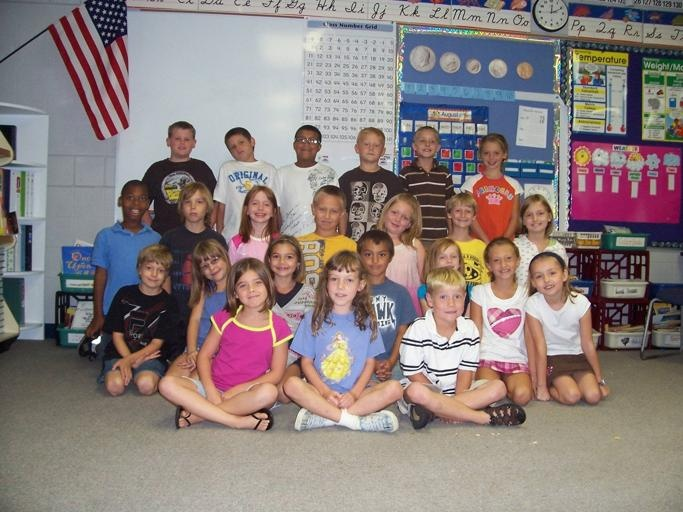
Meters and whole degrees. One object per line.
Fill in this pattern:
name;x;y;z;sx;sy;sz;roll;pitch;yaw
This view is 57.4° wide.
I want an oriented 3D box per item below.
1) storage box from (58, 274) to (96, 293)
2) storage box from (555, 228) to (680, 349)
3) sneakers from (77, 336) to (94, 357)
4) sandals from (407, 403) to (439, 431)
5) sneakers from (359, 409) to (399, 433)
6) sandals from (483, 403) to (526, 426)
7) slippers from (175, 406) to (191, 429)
storage box;-2.143;0.217;5.061;0.239;0.097;0.157;0;0;-19
storage box;2.234;0.278;5.114;1.025;0.878;0.342;1;-4;-19
sneakers;-1.872;0.665;4.579;0.112;0.213;0.176;1;-3;-12
sandals;0.446;0.872;3.482;0.093;0.162;0.111;-34;-37;17
sneakers;0.212;0.901;3.415;0.241;0.088;0.093;-4;6;26
sandals;0.911;0.879;3.465;0.266;0.097;0.113;-5;12;17
slippers;-0.864;0.881;3.402;0.063;0.136;0.033;-19;21;-37
